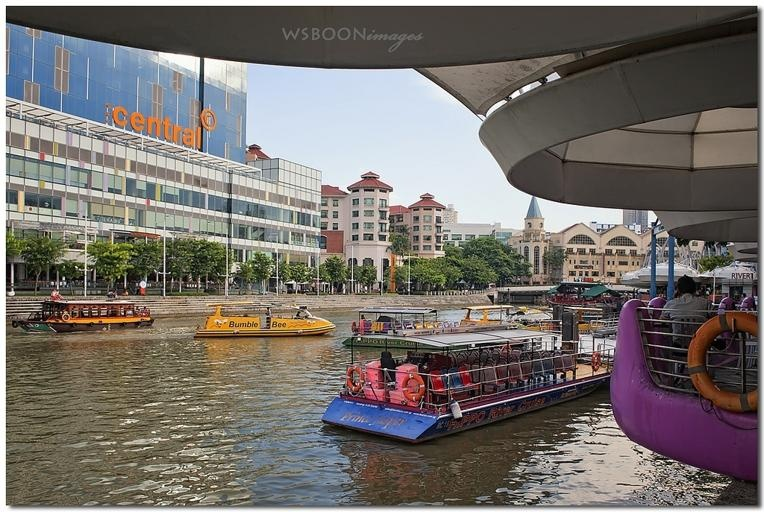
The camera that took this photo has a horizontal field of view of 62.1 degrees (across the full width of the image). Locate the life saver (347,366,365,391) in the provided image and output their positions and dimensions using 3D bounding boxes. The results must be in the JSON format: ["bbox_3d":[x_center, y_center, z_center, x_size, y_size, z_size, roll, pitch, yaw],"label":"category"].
[{"bbox_3d":[-0.794,4.093,21.243,0.214,0.737,0.680,1,-13,-38],"label":"life saver"}]

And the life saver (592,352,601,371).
[{"bbox_3d":[8.921,4.376,26.362,0.239,0.745,0.799,4,-1,39],"label":"life saver"}]

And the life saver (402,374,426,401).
[{"bbox_3d":[0.978,4.092,19.760,0.818,0.785,0.251,-26,-12,29],"label":"life saver"}]

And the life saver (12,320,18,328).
[{"bbox_3d":[-26.252,4.845,45.176,0.647,0.151,0.622,-3,-12,2],"label":"life saver"}]
